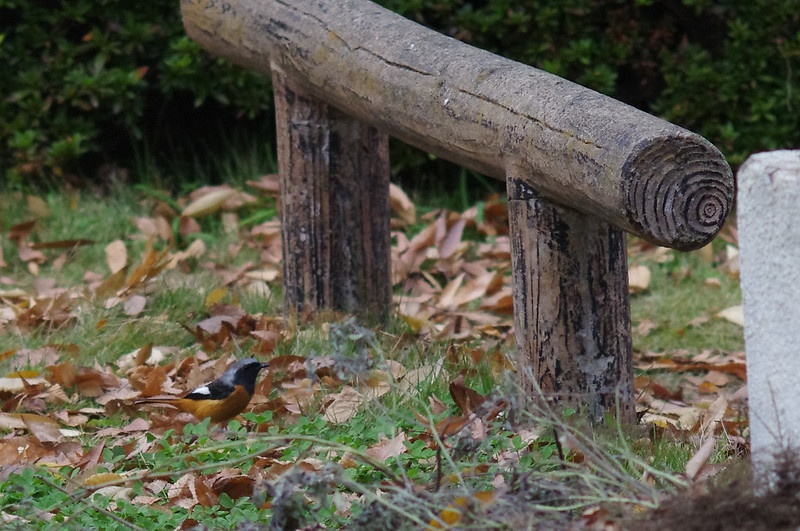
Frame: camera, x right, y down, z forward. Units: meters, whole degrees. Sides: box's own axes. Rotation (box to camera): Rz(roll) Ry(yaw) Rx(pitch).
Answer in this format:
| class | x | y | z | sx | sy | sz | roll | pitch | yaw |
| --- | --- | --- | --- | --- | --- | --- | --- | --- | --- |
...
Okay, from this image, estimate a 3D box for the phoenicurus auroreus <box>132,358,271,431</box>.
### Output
| class | x | y | z | sx | sy | sz | roll | pitch | yaw |
| --- | --- | --- | --- | --- | --- | --- | --- | --- | --- |
| phoenicurus auroreus | -1.031 | 0.643 | 6.904 | 0.765 | 0.554 | 0.286 | -3 | -3 | -2 |
